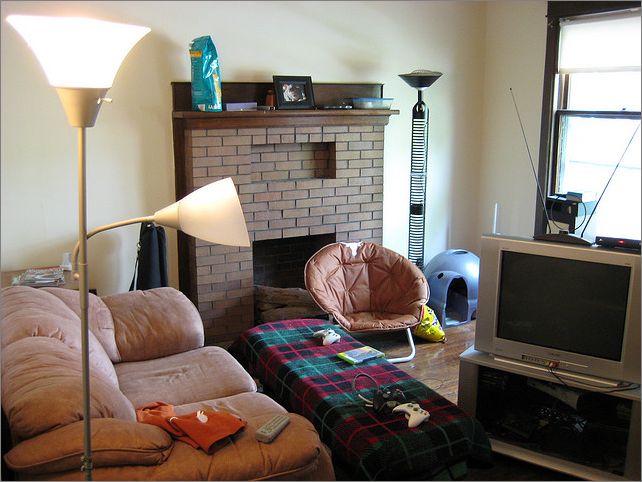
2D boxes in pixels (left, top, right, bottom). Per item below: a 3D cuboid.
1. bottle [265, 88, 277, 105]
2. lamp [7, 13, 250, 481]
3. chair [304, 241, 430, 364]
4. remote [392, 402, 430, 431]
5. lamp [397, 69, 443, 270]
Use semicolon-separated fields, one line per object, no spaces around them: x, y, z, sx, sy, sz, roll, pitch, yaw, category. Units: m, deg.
-0.428;-1.208;4.393;0.081;0.133;0.133;-3;13;-7;bottle
-0.583;0.067;1.746;0.640;1.564;0.385;-7;14;-26;lamp
0.321;0.541;4.422;0.978;0.619;0.965;-6;36;-18;chair
0.479;0.900;2.679;0.109;0.047;0.134;-8;10;-25;remote
0.897;-0.633;4.779;0.299;1.807;0.302;-5;14;-18;lamp
